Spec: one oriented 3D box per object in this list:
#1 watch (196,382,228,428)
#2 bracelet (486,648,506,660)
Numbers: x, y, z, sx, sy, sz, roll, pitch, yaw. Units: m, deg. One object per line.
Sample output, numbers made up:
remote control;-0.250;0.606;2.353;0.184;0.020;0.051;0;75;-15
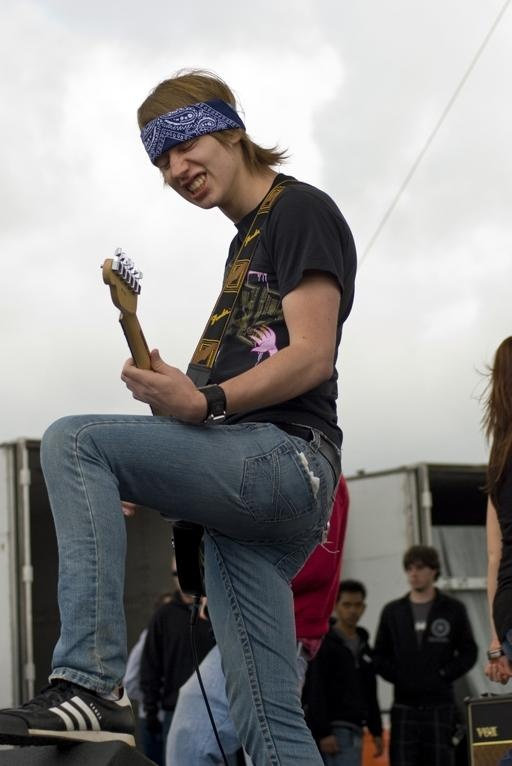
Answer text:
watch;-0.109;0.052;2.679;0.074;0.100;0.040;-2;-8;-18
bracelet;0.897;1.003;3.875;0.075;0.045;0.037;-9;-6;26
